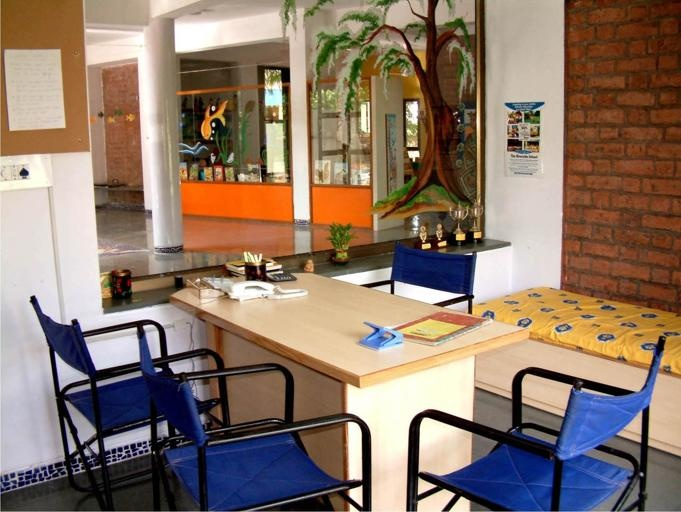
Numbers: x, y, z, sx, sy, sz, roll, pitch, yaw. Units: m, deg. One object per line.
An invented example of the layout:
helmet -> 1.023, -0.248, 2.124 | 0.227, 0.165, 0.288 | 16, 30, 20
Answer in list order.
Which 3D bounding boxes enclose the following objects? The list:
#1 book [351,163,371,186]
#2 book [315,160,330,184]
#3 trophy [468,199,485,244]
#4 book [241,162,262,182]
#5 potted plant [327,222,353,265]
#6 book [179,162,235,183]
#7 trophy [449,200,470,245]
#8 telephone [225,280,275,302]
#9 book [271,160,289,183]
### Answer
book -> 0.180, -0.719, 4.677 | 0.222, 0.212, 0.159 | -1, 6, -10
book -> -0.152, -0.741, 4.652 | 0.134, 0.202, 0.037 | 0, 12, 6
trophy -> 1.271, -0.329, 5.046 | 0.187, 0.370, 0.144 | -4, 7, -36
book -> -0.791, -0.767, 4.793 | 0.150, 0.142, 0.081 | 20, 28, 40
potted plant -> -0.009, -0.118, 4.452 | 0.211, 0.337, 0.191 | 3, 12, 16
book -> -1.252, -0.794, 5.008 | 0.621, 0.173, 0.145 | 7, 14, 33
trophy -> 1.106, -0.305, 4.970 | 0.178, 0.350, 0.216 | 2, 12, 12
telephone -> -0.514, 0.184, 3.023 | 0.184, 0.051, 0.136 | -3, 6, -32
book -> -0.533, -0.752, 4.706 | 0.192, 0.188, 0.051 | 7, 14, 33
